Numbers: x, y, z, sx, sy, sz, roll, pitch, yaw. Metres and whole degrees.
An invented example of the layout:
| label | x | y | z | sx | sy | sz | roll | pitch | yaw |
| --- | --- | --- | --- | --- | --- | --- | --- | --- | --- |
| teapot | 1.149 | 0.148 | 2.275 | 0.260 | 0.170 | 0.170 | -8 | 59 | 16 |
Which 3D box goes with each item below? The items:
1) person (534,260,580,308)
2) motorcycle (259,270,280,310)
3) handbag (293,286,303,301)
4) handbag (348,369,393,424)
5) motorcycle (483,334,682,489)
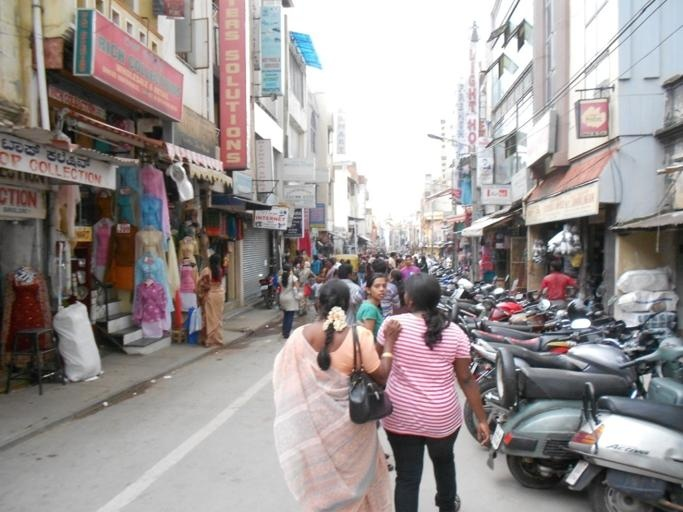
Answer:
| label | x | y | z | sx | sy | sz | roll | pitch | yaw |
| --- | --- | --- | --- | --- | --- | --- | --- | --- | --- |
| person | 4.572 | 0.594 | 12.157 | 0.771 | 1.771 | 0.544 | 1 | 8 | 14 |
| motorcycle | -2.457 | 1.112 | 19.583 | 0.609 | 0.912 | 1.360 | -1 | 8 | 8 |
| handbag | -1.026 | 0.935 | 13.417 | 0.180 | 0.359 | 0.323 | -13 | 5 | -7 |
| handbag | 0.225 | 1.212 | 4.931 | 0.313 | 0.470 | 0.222 | -15 | -6 | -30 |
| motorcycle | 2.579 | 1.637 | 5.933 | 2.216 | 1.700 | 1.191 | -4 | 6 | -9 |
